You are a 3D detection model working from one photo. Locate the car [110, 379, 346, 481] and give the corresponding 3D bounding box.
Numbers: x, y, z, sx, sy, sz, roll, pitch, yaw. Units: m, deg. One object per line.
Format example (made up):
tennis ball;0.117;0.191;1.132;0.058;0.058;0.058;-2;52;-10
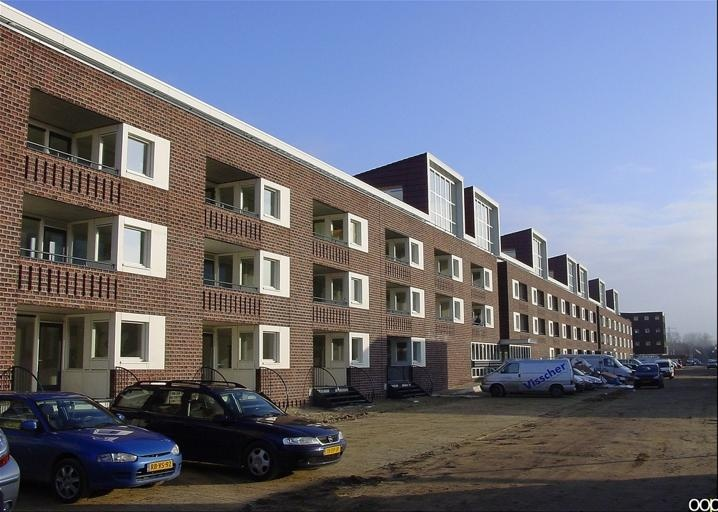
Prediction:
car;-3.081;3.794;14.553;5.085;1.300;2.205;-3;-10;23
